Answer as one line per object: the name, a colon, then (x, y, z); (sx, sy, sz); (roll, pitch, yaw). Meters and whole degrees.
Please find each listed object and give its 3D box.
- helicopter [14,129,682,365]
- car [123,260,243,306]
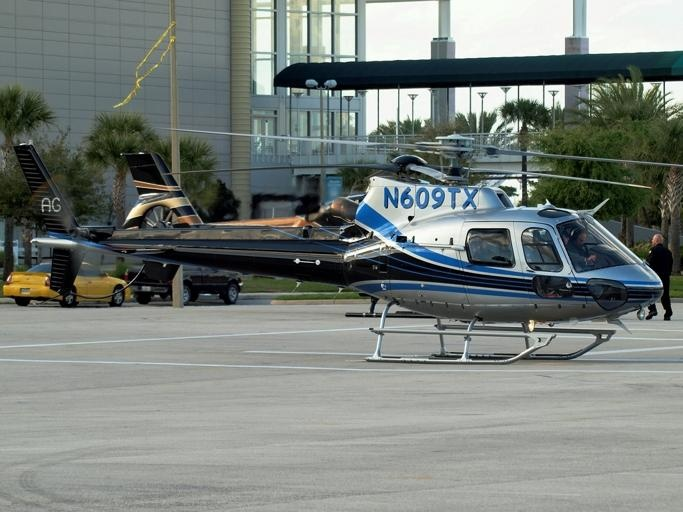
helicopter: (0.977, 0.008, 32.144); (11.886, 3.324, 6.698); (0, 0, 19)
car: (-5.097, 1.013, 45.646); (4.019, 1.327, 2.113); (-4, 5, -40)
